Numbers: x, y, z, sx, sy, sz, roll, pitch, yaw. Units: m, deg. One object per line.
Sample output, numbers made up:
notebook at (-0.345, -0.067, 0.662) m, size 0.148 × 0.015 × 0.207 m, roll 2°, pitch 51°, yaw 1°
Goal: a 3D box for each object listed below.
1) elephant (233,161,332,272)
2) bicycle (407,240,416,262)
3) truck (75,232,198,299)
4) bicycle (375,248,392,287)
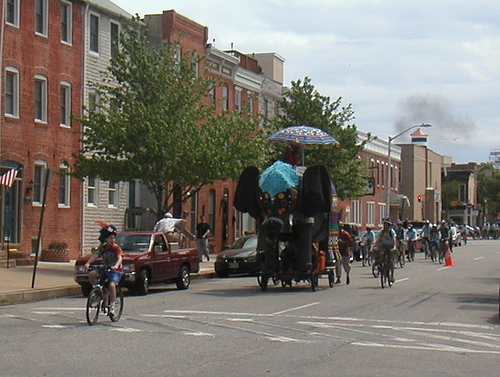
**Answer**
elephant at (1.496, 0.941, 26.876) m, size 2.939 × 3.225 × 4.737 m, roll -3°, pitch -6°, yaw 20°
bicycle at (8.271, 3.176, 42.284) m, size 0.337 × 1.086 × 0.718 m, roll -1°, pitch -9°, yaw 10°
truck at (-3.431, 2.308, 25.744) m, size 2.299 × 1.745 × 4.576 m, roll -1°, pitch -2°, yaw 25°
bicycle at (4.353, 2.473, 26.574) m, size 0.513 × 0.636 × 1.053 m, roll -3°, pitch -8°, yaw 10°
